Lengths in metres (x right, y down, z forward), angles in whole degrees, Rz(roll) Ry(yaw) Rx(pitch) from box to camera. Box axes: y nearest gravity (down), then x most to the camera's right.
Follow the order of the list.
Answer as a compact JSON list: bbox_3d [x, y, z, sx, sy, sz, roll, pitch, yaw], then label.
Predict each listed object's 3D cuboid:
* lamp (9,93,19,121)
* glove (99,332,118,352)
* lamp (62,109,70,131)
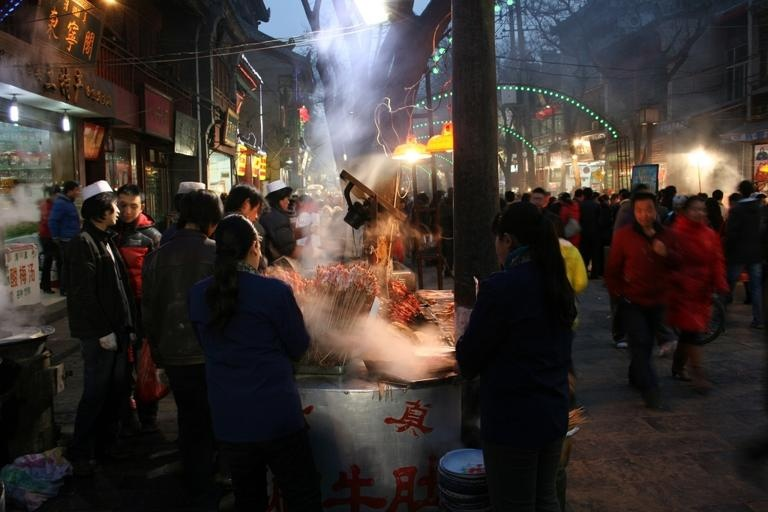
[{"bbox_3d":[-6.919,-2.770,11.397,0.169,0.450,0.535,-4,5,-31],"label":"lamp"},{"bbox_3d":[-2.828,0.890,6.273,0.177,0.130,0.095,9,21,16],"label":"glove"},{"bbox_3d":[-6.790,-2.904,13.021,0.181,0.404,0.533,-4,5,-27],"label":"lamp"}]
